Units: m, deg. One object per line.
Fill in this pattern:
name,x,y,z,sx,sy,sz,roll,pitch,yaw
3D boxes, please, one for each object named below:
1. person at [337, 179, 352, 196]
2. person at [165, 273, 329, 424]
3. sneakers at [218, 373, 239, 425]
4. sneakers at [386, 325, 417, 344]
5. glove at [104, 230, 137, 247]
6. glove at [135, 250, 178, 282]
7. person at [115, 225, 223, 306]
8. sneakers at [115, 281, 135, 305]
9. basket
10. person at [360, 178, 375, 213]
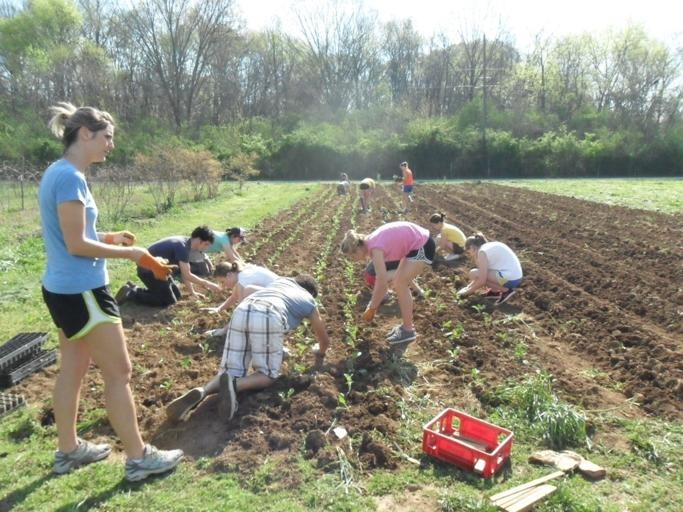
person,0.058,-2.946,25.561,0.273,0.585,1.081,0,27,9
person,-1.272,1.151,8.567,1.173,1.128,2.733,18,35,20
sneakers,-1.526,1.965,8.237,0.238,0.631,0.250,-4,-13,18
sneakers,0.987,1.317,9.923,0.410,0.203,0.268,2,3,-8
glove,-3.010,-0.301,8.180,0.392,0.314,0.245,-6,4,0
glove,-2.807,0.141,9.069,0.167,0.228,0.481,-27,-33,34
person,-3.273,0.182,11.299,1.847,1.556,0.842,0,7,-7
sneakers,-4.045,0.725,11.102,0.186,0.564,0.217,39,-21,-12
basket,1.707,2.459,8.080,1.131,0.606,0.761,5,16,23
person,0.881,-2.065,20.938,0.485,1.842,0.878,0,-29,7
